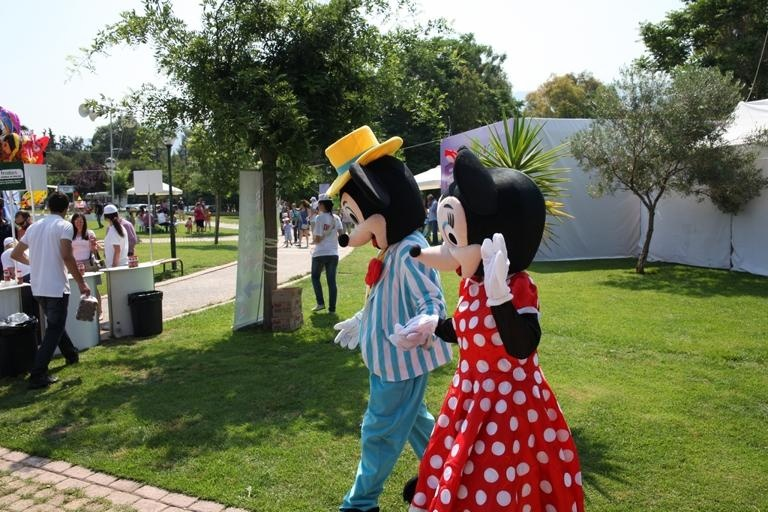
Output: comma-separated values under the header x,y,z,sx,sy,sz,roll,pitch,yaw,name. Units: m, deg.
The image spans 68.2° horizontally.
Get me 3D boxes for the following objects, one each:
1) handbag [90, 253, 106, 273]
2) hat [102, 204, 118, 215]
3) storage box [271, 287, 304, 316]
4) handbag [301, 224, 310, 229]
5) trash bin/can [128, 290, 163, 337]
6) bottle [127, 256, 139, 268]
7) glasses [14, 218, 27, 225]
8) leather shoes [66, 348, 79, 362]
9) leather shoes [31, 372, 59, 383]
x,y,z,sx,sy,sz,roll,pitch,yaw,name
-6.060,0.152,12.101,0.256,0.384,0.386,1,4,14,handbag
-5.353,-0.909,11.193,0.263,0.163,0.382,-5,11,-26,hat
-1.861,0.825,10.811,0.391,0.492,0.720,1,0,10,storage box
-3.446,-1.272,24.685,0.202,0.155,0.214,2,-1,13,handbag
-4.370,1.044,10.406,0.661,0.856,0.485,-7,10,-42,trash bin/can
-4.653,0.109,10.590,0.217,0.263,0.046,4,-38,-35,bottle
-7.045,-0.675,11.132,0.090,0.060,0.121,4,35,-4,glasses
-4.966,1.613,9.153,0.157,0.240,0.087,-3,8,24,leather shoes
-4.979,1.810,8.410,0.321,0.165,0.131,-3,8,-27,leather shoes
